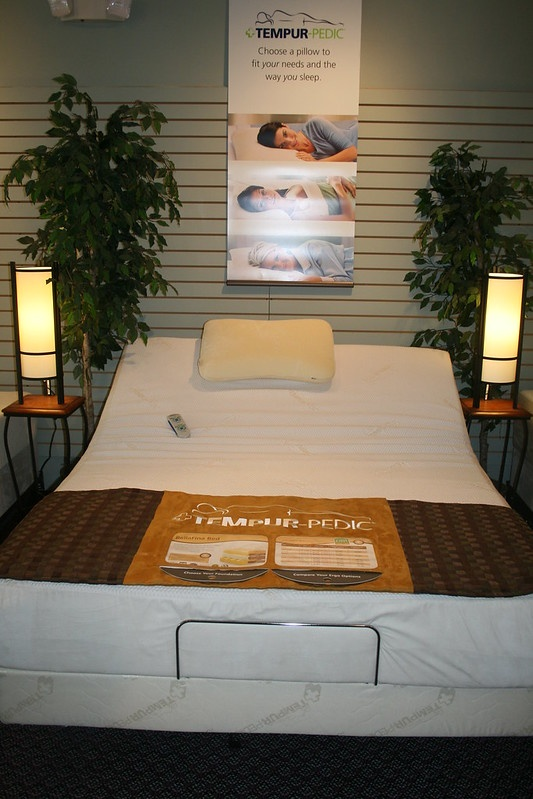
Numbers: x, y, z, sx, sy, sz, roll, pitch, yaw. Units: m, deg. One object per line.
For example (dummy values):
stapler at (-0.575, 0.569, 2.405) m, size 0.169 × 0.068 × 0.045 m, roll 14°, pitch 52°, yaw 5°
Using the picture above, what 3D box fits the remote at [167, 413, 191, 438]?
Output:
remote at (-0.362, 0.108, 2.456) m, size 0.058 × 0.038 × 0.125 m, roll -9°, pitch 39°, yaw -18°
